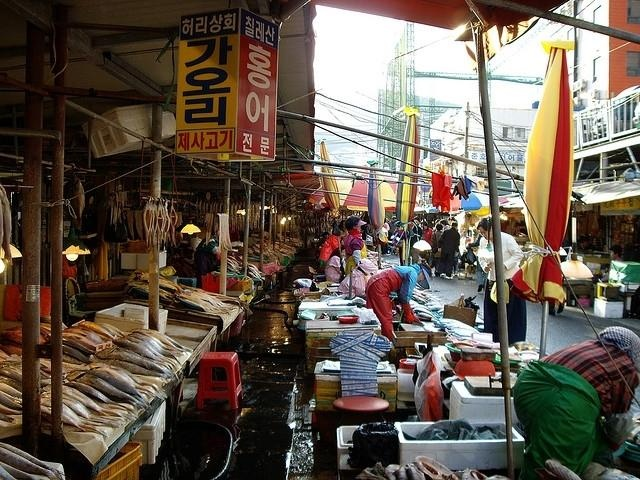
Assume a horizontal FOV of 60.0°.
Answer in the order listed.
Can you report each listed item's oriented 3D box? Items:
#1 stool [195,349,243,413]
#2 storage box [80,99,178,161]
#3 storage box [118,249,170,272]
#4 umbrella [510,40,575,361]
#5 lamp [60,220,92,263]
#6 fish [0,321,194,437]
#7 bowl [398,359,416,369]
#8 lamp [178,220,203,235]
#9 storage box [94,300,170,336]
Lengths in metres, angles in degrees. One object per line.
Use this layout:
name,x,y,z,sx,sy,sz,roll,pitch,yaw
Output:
stool,-1.397,1.923,7.676,0.612,0.777,0.485,1,0,-11
storage box,-2.428,-1.480,7.051,1.019,0.723,1.835,1,0,-12
storage box,-2.979,0.332,9.308,0.573,0.328,0.432,1,1,1
umbrella,2.443,-0.638,6.050,0.554,2.624,0.562,1,0,24
lamp,-3.889,0.018,8.838,0.337,0.648,0.646,1,0,-25
fish,-2.226,1.447,5.433,1.094,0.248,1.135,7,10,-4
bowl,1.207,1.726,7.678,0.225,0.129,0.419,1,0,10
lamp,-2.681,-0.225,11.016,0.452,0.241,0.473,-1,2,11
storage box,-2.355,0.928,6.986,0.441,0.229,0.449,14,-8,9
